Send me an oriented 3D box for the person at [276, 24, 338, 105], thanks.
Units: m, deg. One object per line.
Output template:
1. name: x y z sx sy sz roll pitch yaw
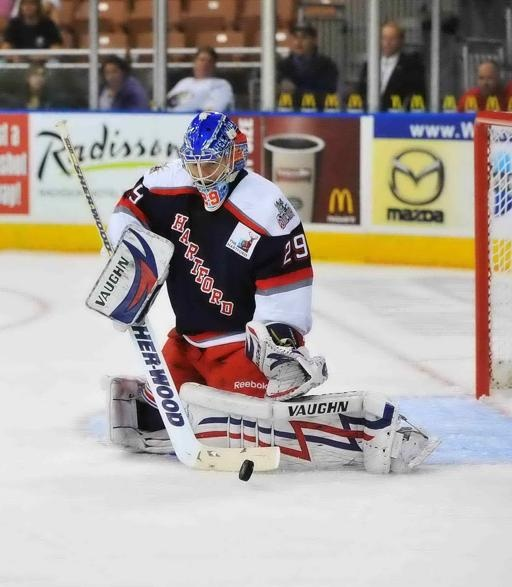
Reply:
1. person: 0.430 -1.799 7.788 0.489 0.669 0.155 6 11 32

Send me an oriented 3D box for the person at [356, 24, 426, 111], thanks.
1. person: 1.139 -1.742 7.487 0.360 0.674 0.141 1 9 6
